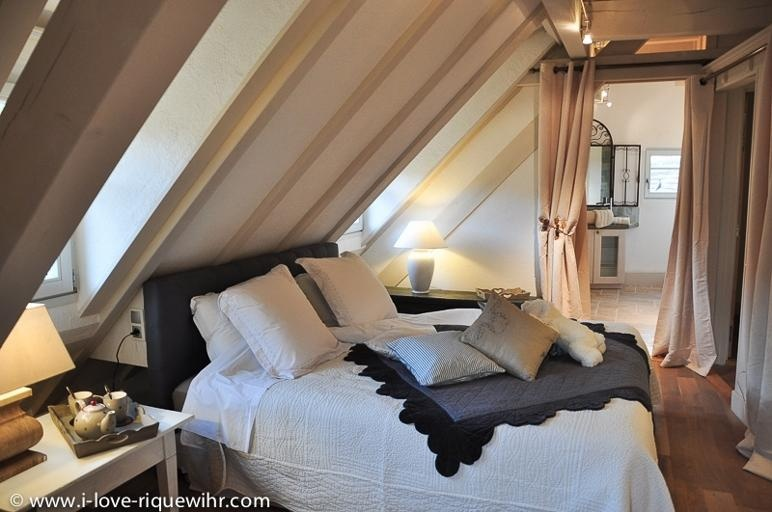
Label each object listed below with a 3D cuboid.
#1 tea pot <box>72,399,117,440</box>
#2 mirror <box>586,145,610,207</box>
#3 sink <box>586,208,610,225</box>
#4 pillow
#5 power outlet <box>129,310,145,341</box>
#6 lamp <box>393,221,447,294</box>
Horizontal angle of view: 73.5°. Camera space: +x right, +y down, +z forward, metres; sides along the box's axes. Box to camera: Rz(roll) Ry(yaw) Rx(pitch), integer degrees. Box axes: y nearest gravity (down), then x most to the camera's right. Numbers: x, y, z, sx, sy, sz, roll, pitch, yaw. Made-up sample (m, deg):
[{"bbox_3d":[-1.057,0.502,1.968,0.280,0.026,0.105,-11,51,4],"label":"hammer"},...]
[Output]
[{"bbox_3d":[-1.245,0.702,2.228,0.174,0.103,0.117,3,3,28],"label":"tea pot"},{"bbox_3d":[3.002,-1.107,7.222,0.321,0.854,0.229,2,3,18],"label":"mirror"},{"bbox_3d":[2.894,-0.513,6.959,0.302,0.213,0.081,2,3,14],"label":"sink"},{"bbox_3d":[-0.002,0.366,2.912,1.111,0.342,0.984,2,8,16],"label":"pillow"},{"bbox_3d":[-1.350,0.371,2.817,0.092,0.168,0.019,2,3,16],"label":"power outlet"},{"bbox_3d":[0.338,0.015,4.863,0.550,0.640,0.531,2,-3,-42],"label":"lamp"}]
